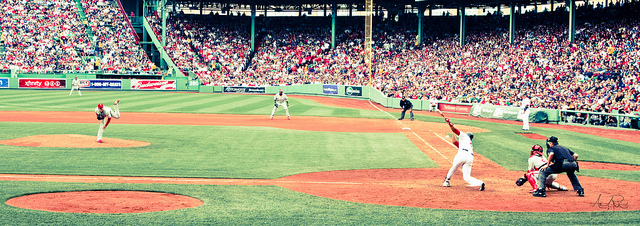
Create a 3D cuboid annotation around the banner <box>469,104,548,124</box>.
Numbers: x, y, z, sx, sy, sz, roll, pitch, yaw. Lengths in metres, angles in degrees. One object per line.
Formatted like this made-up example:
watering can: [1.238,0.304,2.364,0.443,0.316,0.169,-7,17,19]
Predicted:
banner: [34.255,0.115,119.978,16.669,2.536,3.745,7,-10,33]
